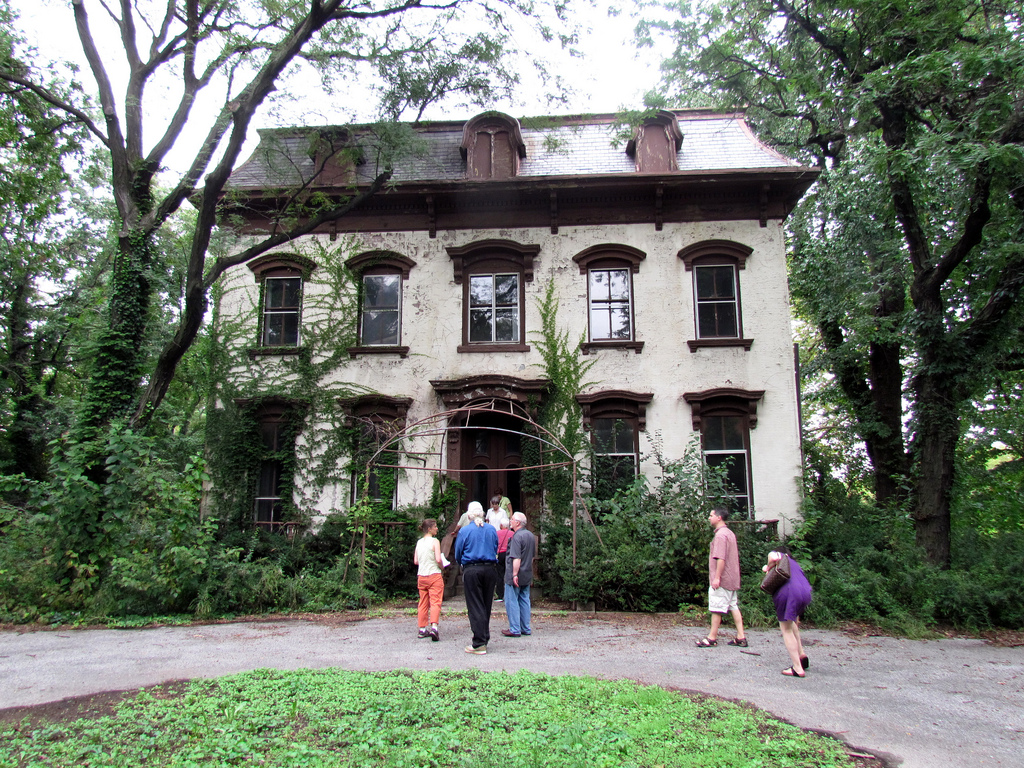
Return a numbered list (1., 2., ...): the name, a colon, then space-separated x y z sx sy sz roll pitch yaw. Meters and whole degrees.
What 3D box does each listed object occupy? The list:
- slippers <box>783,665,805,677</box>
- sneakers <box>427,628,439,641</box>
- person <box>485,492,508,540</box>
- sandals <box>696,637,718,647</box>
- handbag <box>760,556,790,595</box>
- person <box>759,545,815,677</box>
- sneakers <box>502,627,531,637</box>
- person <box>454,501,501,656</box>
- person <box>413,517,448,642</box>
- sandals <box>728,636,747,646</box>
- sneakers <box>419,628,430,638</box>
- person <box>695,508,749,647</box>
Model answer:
1. slippers: 4.186 4.262 10.616 0.321 0.118 0.231 0 -4 19
2. sneakers: -1.382 4.379 12.575 0.175 0.276 0.201 0 0 -16
3. person: -0.294 2.677 14.441 0.517 1.140 0.381 -3 -30 0
4. sandals: 3.339 4.416 12.259 0.310 0.130 0.153 3 -15 3
5. handbag: 4.086 2.870 10.945 0.193 0.422 0.540 16 11 -8
6. person: 4.205 3.431 10.949 0.646 1.852 0.864 0 -4 22
7. sneakers: 0.070 4.486 12.865 0.306 0.102 0.207 1 -8 19
8. person: -0.604 3.224 11.943 0.689 2.340 0.950 1 -3 -4
9. person: -1.486 3.514 12.998 0.519 2.130 1.202 2 -4 -6
10. sandals: 3.898 4.440 12.354 0.160 0.122 0.309 7 -7 -36
11. sneakers: -1.566 4.424 12.735 0.112 0.129 0.306 4 -20 -5
12. person: 3.691 3.321 12.416 0.780 2.339 1.060 0 -4 23
